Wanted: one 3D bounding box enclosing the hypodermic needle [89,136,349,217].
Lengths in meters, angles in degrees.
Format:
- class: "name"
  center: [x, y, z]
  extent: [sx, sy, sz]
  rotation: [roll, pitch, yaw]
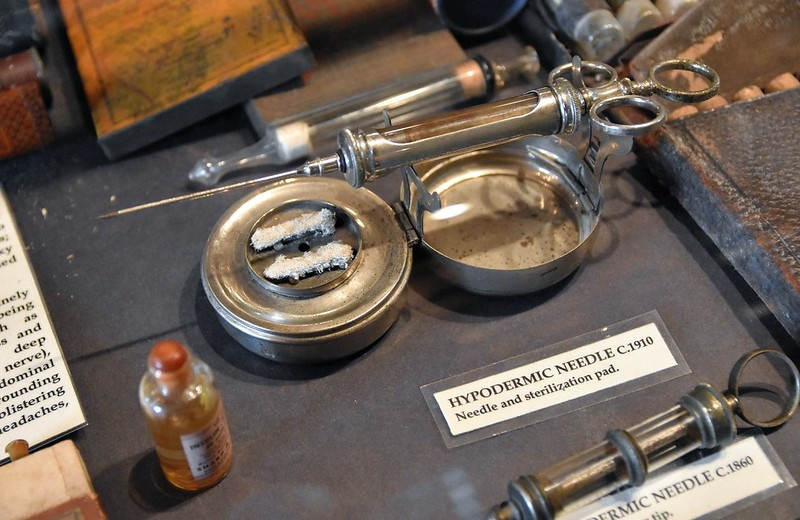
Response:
- class: "hypodermic needle"
  center: [-0.405, -0.177, 1.646]
  extent: [0.417, 0.058, 0.060]
  rotation: [-18, 70, -15]
